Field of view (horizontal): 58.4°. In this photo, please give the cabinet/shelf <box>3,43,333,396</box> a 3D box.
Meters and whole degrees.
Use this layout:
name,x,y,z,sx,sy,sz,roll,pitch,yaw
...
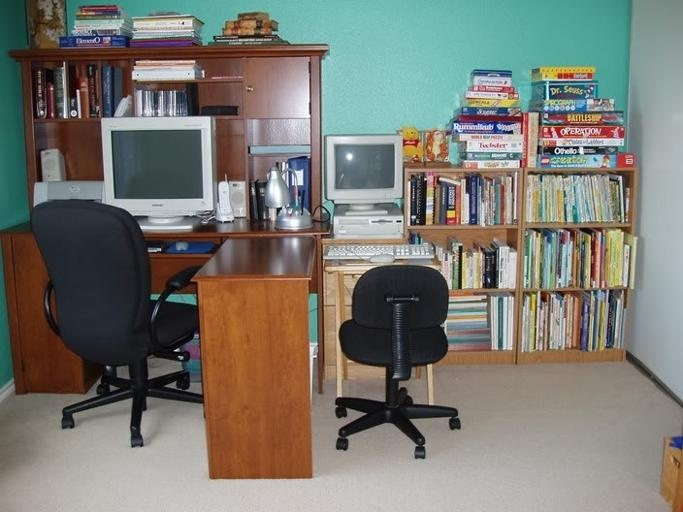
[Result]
name,x,y,z,sx,sy,sz,roll,pitch,yaw
cabinet/shelf,-1.081,-0.218,3.674,2.191,2.344,0.831,-1,8,-4

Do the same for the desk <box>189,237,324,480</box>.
name,x,y,z,sx,sy,sz,roll,pitch,yaw
desk,-0.347,0.545,3.519,0.599,0.979,1.034,0,5,6

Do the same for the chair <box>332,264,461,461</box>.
name,x,y,z,sx,sy,sz,roll,pitch,yaw
chair,0.308,0.510,3.452,0.728,0.970,0.731,1,6,11

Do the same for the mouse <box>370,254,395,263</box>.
name,x,y,z,sx,sy,sz,roll,pitch,yaw
mouse,0.254,0.017,3.714,0.108,0.036,0.060,3,17,-1

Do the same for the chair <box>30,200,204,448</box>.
name,x,y,z,sx,sy,sz,roll,pitch,yaw
chair,-1.200,0.316,3.477,0.827,1.306,0.850,1,11,3

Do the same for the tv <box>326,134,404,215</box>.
name,x,y,z,sx,sy,sz,roll,pitch,yaw
tv,0.170,-0.535,4.203,0.680,0.615,0.392,-1,6,-2
